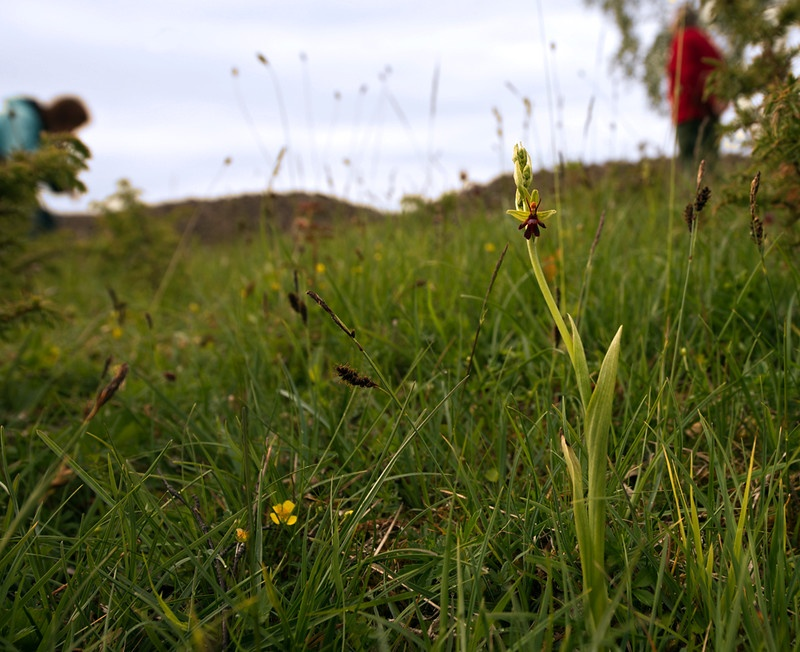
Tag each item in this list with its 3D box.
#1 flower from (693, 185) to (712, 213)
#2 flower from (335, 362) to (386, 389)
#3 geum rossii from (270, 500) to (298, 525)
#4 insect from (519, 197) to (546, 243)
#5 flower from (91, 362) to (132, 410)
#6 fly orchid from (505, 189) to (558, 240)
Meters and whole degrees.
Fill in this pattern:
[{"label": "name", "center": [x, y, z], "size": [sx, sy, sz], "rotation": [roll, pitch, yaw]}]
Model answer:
[{"label": "flower", "center": [0.846, -0.368, 2.033], "size": [0.038, 0.076, 0.158], "rotation": [-1, 21, 23]}, {"label": "flower", "center": [-0.127, 0.157, 2.273], "size": [0.145, 0.064, 0.062], "rotation": [27, 36, 5]}, {"label": "geum rossii", "center": [-0.329, 0.532, 2.053], "size": [0.068, 0.045, 0.082], "rotation": [13, 24, -5]}, {"label": "insect", "center": [0.322, -0.255, 1.763], "size": [0.059, 0.129, 0.083], "rotation": [-3, -11, 19]}, {"label": "flower", "center": [-0.979, 0.206, 2.470], "size": [0.051, 0.240, 0.051], "rotation": [32, 4, 16]}, {"label": "fly orchid", "center": [0.316, -0.266, 1.758], "size": [0.098, 0.113, 0.086], "rotation": [3, 4, 42]}]
